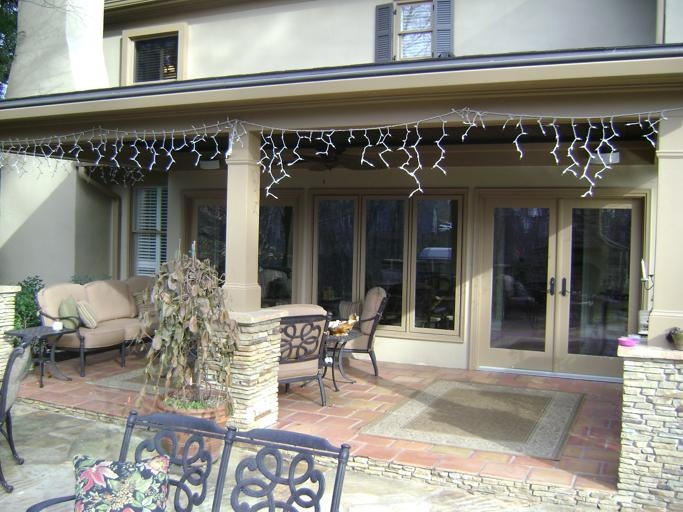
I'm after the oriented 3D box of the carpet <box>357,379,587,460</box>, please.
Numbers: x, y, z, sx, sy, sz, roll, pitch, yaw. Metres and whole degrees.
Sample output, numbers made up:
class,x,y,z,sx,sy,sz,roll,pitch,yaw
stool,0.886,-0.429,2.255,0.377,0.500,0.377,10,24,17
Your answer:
class,x,y,z,sx,sy,sz,roll,pitch,yaw
carpet,1.620,1.819,5.909,2.119,0.017,2.349,-5,1,34

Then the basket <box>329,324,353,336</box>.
class,x,y,z,sx,sy,sz,roll,pitch,yaw
basket,0.001,0.974,6.687,0.281,0.163,0.173,-3,5,-37

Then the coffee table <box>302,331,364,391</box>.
class,x,y,z,sx,sy,sz,roll,pitch,yaw
coffee table,-0.105,1.326,6.645,0.906,0.567,0.888,12,-16,-30

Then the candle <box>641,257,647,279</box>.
class,x,y,z,sx,sy,sz,roll,pitch,yaw
candle,4.105,0.183,6.956,0.079,0.284,0.199,3,5,30

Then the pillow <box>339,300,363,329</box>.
class,x,y,z,sx,sy,sz,roll,pitch,yaw
pillow,0.144,0.886,8.017,0.334,0.373,0.358,1,-11,1

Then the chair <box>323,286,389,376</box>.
class,x,y,z,sx,sy,sz,roll,pitch,yaw
chair,0.132,1.131,7.665,1.091,1.296,1.020,1,0,-24

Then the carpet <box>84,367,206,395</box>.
class,x,y,z,sx,sy,sz,roll,pitch,yaw
carpet,-2.325,1.494,6.004,0.809,0.004,0.714,2,2,28

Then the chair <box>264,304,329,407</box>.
class,x,y,z,sx,sy,sz,roll,pitch,yaw
chair,-0.510,1.256,6.120,0.770,1.026,0.734,-8,-5,-16

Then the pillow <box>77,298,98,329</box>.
class,x,y,z,sx,sy,sz,roll,pitch,yaw
pillow,-3.472,0.813,7.098,0.114,0.339,0.328,-17,17,7

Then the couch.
class,x,y,z,sx,sy,sz,roll,pitch,yaw
couch,-3.598,1.053,7.787,0.903,1.166,2.109,5,0,8

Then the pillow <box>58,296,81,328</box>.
class,x,y,z,sx,sy,sz,roll,pitch,yaw
pillow,-3.752,0.771,7.174,0.130,0.229,0.259,13,12,33
